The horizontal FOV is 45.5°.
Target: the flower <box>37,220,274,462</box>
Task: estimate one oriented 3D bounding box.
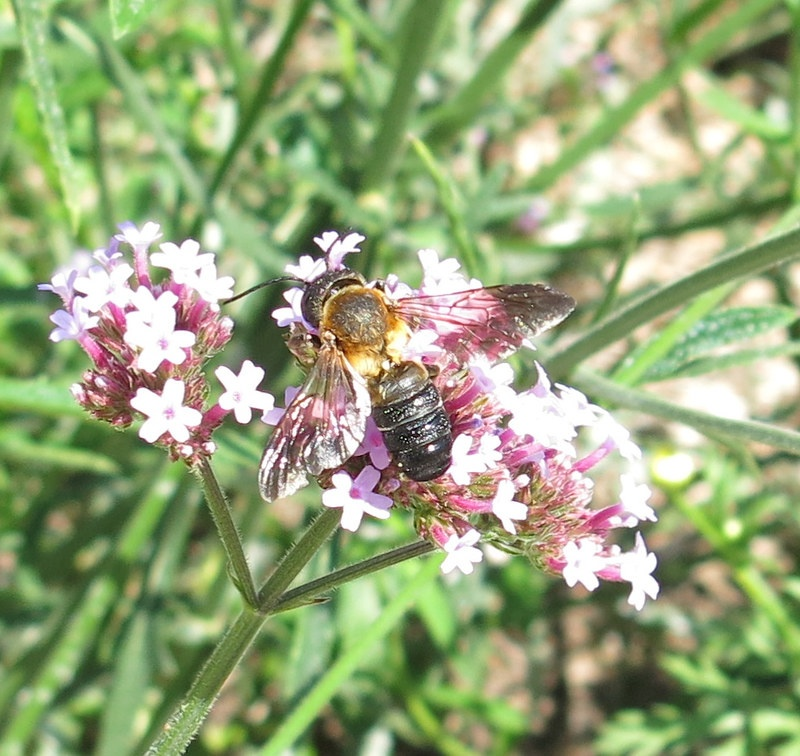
[{"bbox_3d":[-0.636,-0.134,2.750,0.865,0.373,0.616,2,106,2],"label":"flower"}]

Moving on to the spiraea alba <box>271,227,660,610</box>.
[{"bbox_3d":[0.067,0.203,2.983,1.032,0.399,1.312,-37,73,-21],"label":"spiraea alba"}]
